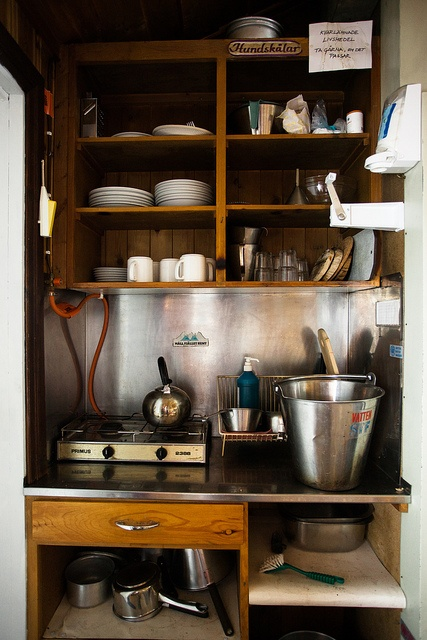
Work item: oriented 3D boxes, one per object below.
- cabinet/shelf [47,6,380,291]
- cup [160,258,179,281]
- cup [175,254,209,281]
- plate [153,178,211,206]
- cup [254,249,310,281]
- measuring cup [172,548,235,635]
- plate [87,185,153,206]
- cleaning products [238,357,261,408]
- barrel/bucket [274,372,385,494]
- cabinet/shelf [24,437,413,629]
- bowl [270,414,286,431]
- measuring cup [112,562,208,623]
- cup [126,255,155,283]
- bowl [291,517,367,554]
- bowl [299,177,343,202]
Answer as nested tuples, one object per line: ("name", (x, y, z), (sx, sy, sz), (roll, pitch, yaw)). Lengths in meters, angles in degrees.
("cabinet/shelf", (0.037, -0.510, 2.124), (1.085, 0.817, 0.352), (1, 4, 6))
("cup", (-0.165, -0.173, 2.052), (0.058, 0.073, 0.078), (1, 4, -16))
("cup", (-0.079, -0.176, 2.013), (0.109, 0.099, 0.088), (-1, 2, 1))
("plate", (-0.104, -0.439, 2.038), (0.205, 0.088, 0.091), (-2, 2, -3))
("cup", (0.240, -0.181, 2.047), (0.135, 0.086, 0.136), (0, 4, 0))
("measuring cup", (-0.029, 0.865, 1.876), (0.144, 0.179, 0.254), (-16, -1, -16))
("plate", (-0.321, -0.426, 2.044), (0.232, 0.065, 0.087), (-2, 2, -13))
("cleaning products", (0.134, 0.240, 2.179), (0.093, 0.181, 0.094), (-2, 1, -8))
("barrel/bucket", (0.366, 0.334, 1.814), (0.336, 0.338, 0.347), (0, 5, 0))
("cabinet/shelf", (-0.006, 0.713, 1.894), (1.095, 0.471, 0.424), (-1, 2, 6))
("bowl", (0.222, 0.365, 2.026), (0.035, 0.062, 0.061), (2, -11, -10))
("measuring cup", (-0.181, 0.864, 1.844), (0.238, 0.078, 0.147), (1, -1, 8))
("cup", (-0.262, -0.176, 2.068), (0.094, 0.093, 0.137), (-2, 2, -6))
("bowl", (0.363, 0.690, 1.880), (0.163, 0.055, 0.141), (1, -4, 5))
("bowl", (0.382, -0.437, 2.017), (0.101, 0.069, 0.101), (-1, 6, 0))
